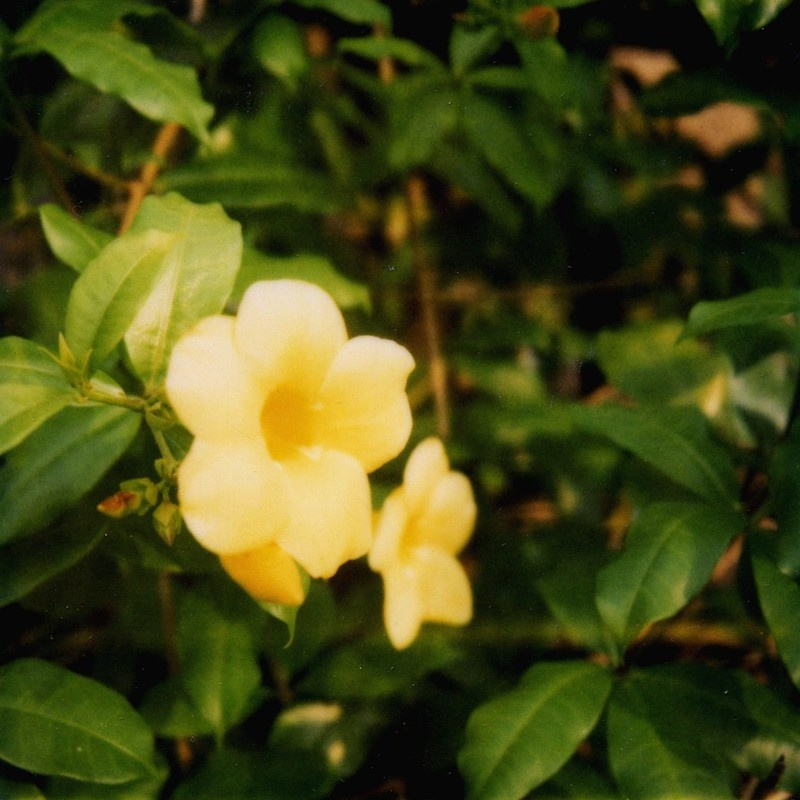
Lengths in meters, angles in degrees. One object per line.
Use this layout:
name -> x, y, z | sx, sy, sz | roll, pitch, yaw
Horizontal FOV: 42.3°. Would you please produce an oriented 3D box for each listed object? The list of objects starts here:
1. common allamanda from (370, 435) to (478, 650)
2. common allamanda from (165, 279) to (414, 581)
common allamanda -> -0.009, 0.128, 0.952 | 0.108, 0.175, 0.119 | 4, 19, -6
common allamanda -> -0.098, 0.010, 0.802 | 0.230, 0.221, 0.071 | 24, -23, -31
